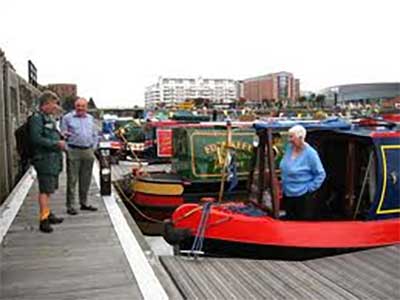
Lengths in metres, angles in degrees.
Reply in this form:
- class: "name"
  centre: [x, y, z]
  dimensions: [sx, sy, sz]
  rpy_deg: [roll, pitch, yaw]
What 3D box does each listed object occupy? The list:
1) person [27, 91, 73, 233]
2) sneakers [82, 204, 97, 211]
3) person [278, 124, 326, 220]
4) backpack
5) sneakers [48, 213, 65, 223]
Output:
- class: "person"
  centre: [-2.966, 0.214, 6.260]
  dimensions: [0.682, 2.769, 0.738]
  rpy_deg: [0, 5, -24]
- class: "sneakers"
  centre: [-2.677, 1.394, 7.767]
  dimensions: [0.392, 0.174, 0.165]
  rpy_deg: [1, 6, -4]
- class: "person"
  centre: [1.822, 0.710, 5.908]
  dimensions: [0.549, 2.326, 0.912]
  rpy_deg: [-17, 26, -23]
- class: "backpack"
  centre: [-3.311, -0.281, 6.165]
  dimensions: [0.468, 0.872, 0.597]
  rpy_deg: [-3, -6, -25]
- class: "sneakers"
  centre: [-3.064, 1.451, 6.764]
  dimensions: [0.386, 0.203, 0.147]
  rpy_deg: [0, 7, -10]
